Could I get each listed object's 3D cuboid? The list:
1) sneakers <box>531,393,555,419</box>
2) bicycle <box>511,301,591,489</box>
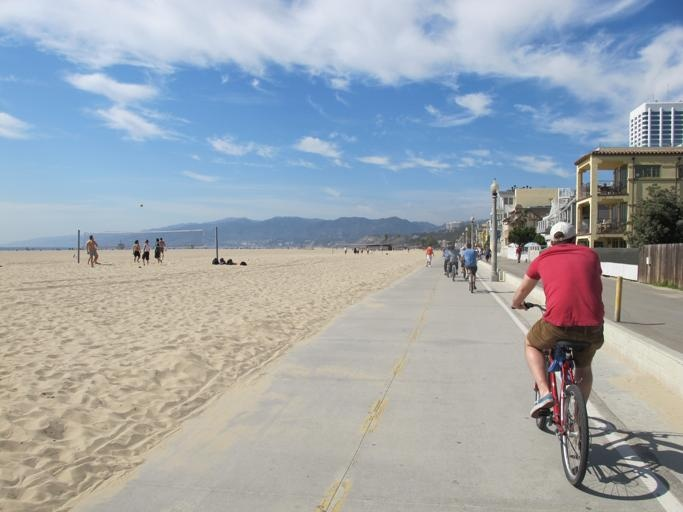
[{"bbox_3d":[2.008,1.533,5.223,0.127,0.164,0.384,4,-32,2],"label":"sneakers"},{"bbox_3d":[2.267,1.493,5.353,0.679,0.964,1.596,1,3,11],"label":"bicycle"}]
